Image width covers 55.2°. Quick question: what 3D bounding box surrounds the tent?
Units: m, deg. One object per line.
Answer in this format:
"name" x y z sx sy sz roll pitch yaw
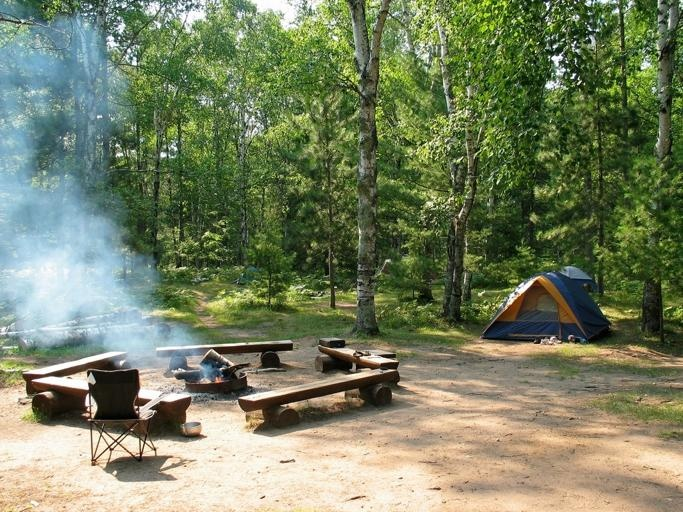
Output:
"tent" 6.666 1.820 21.312 2.518 1.407 3.384 -2 1 35

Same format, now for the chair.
"chair" -4.337 3.026 12.731 1.206 1.769 1.502 1 0 -38

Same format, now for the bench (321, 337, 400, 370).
"bench" 0.322 2.540 16.422 2.545 0.756 1.099 0 -1 38
